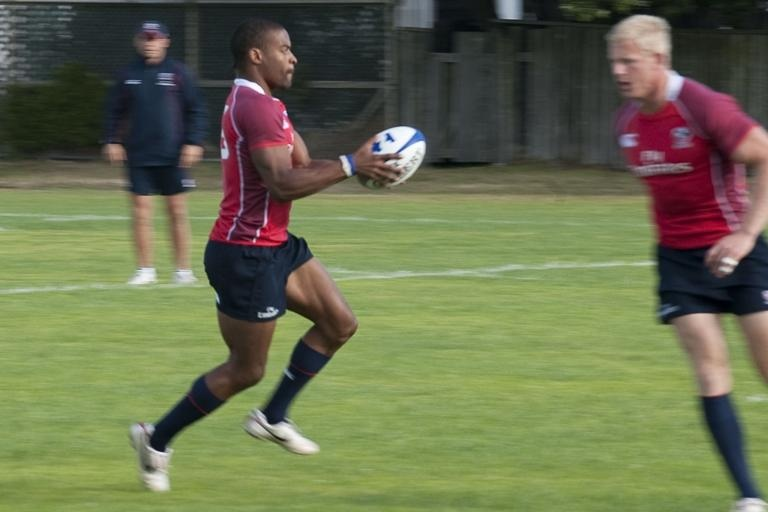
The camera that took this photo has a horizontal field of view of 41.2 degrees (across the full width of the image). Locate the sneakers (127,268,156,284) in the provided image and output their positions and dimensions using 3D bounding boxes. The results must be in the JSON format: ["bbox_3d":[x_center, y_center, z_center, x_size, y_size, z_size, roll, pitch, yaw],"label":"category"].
[{"bbox_3d":[-2.318,0.192,9.802,0.209,0.077,0.248,-1,-8,-3],"label":"sneakers"}]

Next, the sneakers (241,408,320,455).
[{"bbox_3d":[-0.611,0.993,5.803,0.640,0.147,0.172,14,-5,-3],"label":"sneakers"}]

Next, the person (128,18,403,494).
[{"bbox_3d":[-0.727,-0.052,5.551,1.378,2.522,0.853,-1,13,-14],"label":"person"}]
